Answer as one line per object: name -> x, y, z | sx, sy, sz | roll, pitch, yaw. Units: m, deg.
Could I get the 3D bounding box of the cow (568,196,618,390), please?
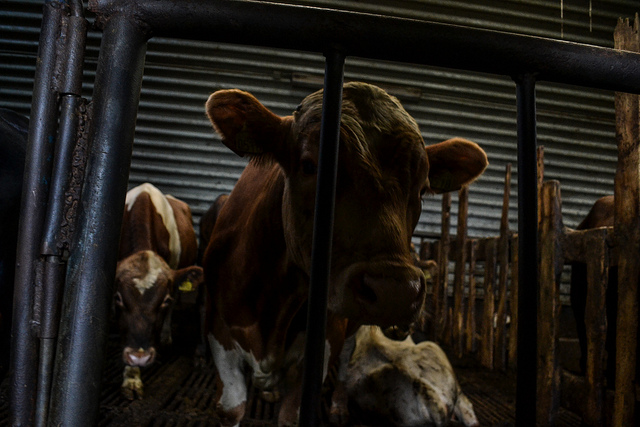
cow -> 3.454, 0.925, 12.064 | 0.546, 2.443, 1.540 | 5, -6, 12

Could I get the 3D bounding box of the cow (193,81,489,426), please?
cow -> 0.013, 0.531, 10.518 | 2.665, 3.821, 2.233 | 3, -7, 30

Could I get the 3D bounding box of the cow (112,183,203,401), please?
cow -> -2.284, 0.957, 13.231 | 1.030, 2.926, 2.970 | 7, -6, -10
